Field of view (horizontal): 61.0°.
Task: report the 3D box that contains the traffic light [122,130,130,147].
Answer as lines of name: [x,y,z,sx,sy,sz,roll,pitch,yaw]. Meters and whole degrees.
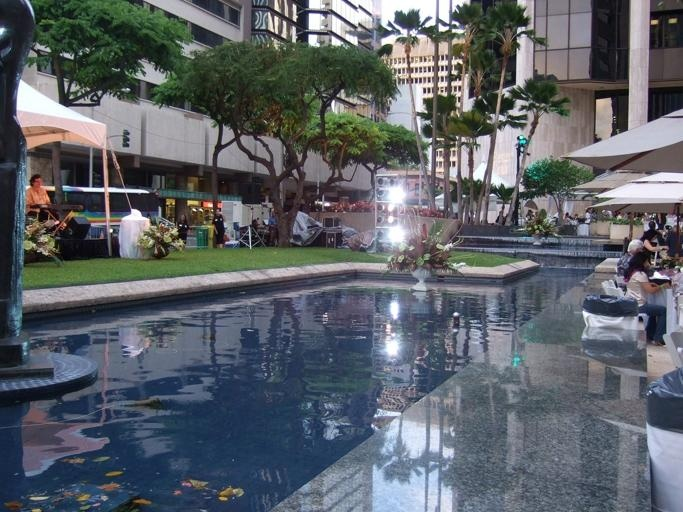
traffic light: [-14.573,-7.887,39.223,0.421,1.132,0.850,2,5,20]

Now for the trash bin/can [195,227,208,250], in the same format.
trash bin/can: [-6.531,-0.877,27.175,0.463,0.964,0.601,-1,4,-9]

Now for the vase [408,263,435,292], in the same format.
vase: [2.213,0.655,16.182,0.617,0.758,0.643,2,-9,-4]
